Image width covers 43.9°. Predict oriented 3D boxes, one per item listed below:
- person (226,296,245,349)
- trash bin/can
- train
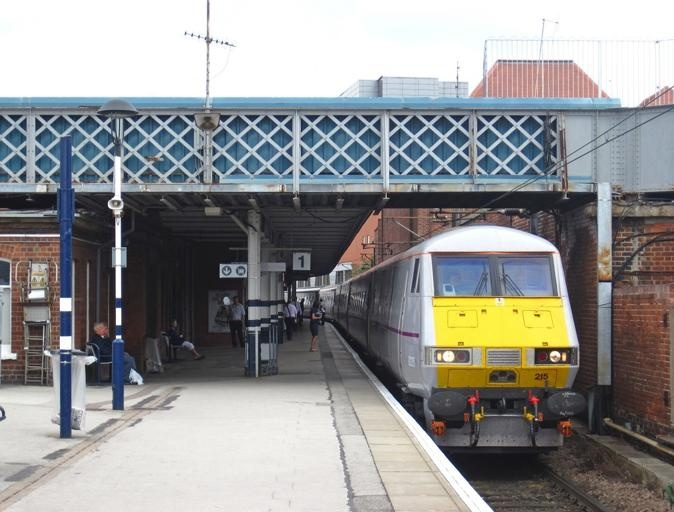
[{"bbox_3d":[-3.278,2.141,27.315,0.528,1.659,1.957,-2,-4,-7],"label":"person"},{"bbox_3d":[-4.157,2.095,12.989,0.677,1.285,0.921,-1,-4,-20],"label":"trash bin/can"},{"bbox_3d":[2.443,1.507,16.538,2.588,4.011,6.002,-2,-4,-6],"label":"train"}]
